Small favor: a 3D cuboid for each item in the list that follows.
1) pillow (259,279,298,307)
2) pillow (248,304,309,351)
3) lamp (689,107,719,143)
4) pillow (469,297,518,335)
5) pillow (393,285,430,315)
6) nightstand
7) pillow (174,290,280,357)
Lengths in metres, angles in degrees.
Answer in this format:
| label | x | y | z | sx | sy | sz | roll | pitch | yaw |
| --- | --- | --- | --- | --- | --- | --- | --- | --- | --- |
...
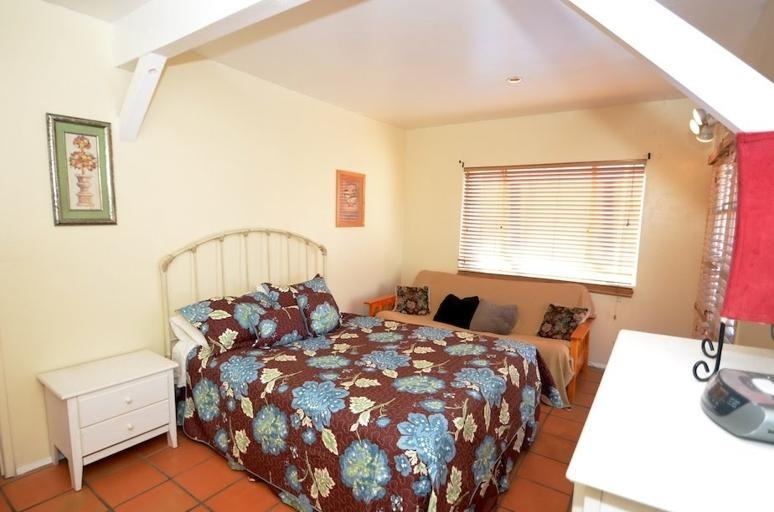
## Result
| label | x | y | z | sx | sy | sz | roll | pitch | yaw |
| --- | --- | --- | --- | --- | --- | --- | --- | --- | --- |
| pillow | -0.913 | 0.342 | 4.476 | 0.246 | 0.075 | 0.236 | 17 | 15 | 26 |
| pillow | -0.894 | 0.601 | 4.206 | 0.150 | 0.275 | 0.482 | -29 | -14 | 39 |
| lamp | 2.676 | -1.124 | 4.281 | 0.185 | 0.284 | 0.434 | 6 | 8 | 32 |
| pillow | 1.127 | 0.668 | 5.311 | 0.516 | 0.427 | 0.285 | 5 | -6 | 29 |
| pillow | 0.275 | 0.528 | 5.803 | 0.364 | 0.319 | 0.109 | 0 | -19 | 7 |
| nightstand | -1.987 | 1.060 | 3.931 | 0.787 | 1.000 | 1.090 | 6 | 9 | 35 |
| pillow | -1.267 | 0.508 | 4.090 | 0.472 | 0.173 | 0.577 | 21 | 18 | 32 |
